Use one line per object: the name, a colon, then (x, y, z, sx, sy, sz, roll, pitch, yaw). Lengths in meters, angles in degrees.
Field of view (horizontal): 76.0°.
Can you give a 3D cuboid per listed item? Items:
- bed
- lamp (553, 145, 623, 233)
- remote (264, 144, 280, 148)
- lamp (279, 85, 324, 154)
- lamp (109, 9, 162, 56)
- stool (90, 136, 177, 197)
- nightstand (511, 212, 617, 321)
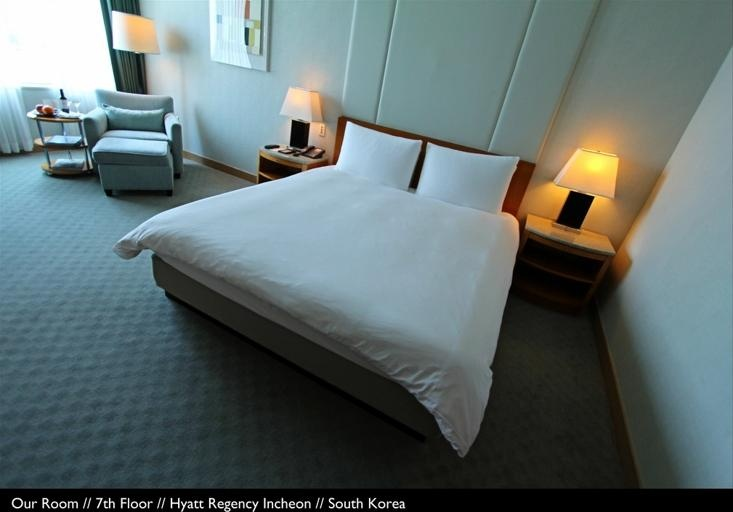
bed: (-0.032, -0.191, 3.947, 2.295, 1.302, 2.376, 20, 31, 18)
lamp: (1.883, -0.564, 4.085, 0.471, 0.686, 0.374, 23, 32, 23)
remote: (-1.026, -1.199, 5.121, 0.068, 0.041, 0.135, 25, 30, 36)
lamp: (-0.684, -1.439, 5.004, 0.458, 0.590, 0.485, 21, 20, 26)
lamp: (-2.576, -2.509, 5.229, 0.286, 0.384, 0.528, 9, 20, 33)
stool: (-2.291, -0.881, 4.640, 0.654, 0.492, 0.641, 2, 28, -16)
nightstand: (1.751, 0.107, 4.120, 0.645, 0.662, 0.457, 18, 42, 20)
